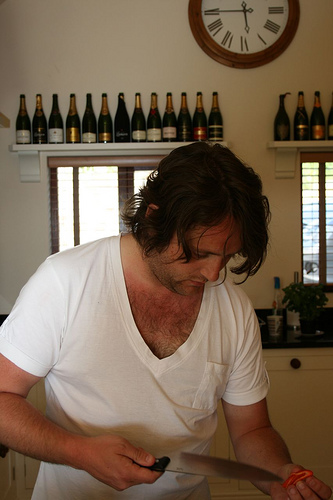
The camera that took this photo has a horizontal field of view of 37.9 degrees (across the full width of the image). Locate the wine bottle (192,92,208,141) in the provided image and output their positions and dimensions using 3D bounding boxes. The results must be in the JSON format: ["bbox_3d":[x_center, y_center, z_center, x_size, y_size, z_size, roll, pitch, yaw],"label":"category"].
[{"bbox_3d":[0.194,-0.778,2.816,0.092,0.299,0.119,0,3,4],"label":"wine bottle"}]

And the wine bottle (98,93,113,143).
[{"bbox_3d":[-0.352,-0.761,2.795,0.086,0.288,0.088,0,3,0],"label":"wine bottle"}]

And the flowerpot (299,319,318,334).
[{"bbox_3d":[0.745,0.400,2.543,0.076,0.055,0.075,1,-11,1],"label":"flowerpot"}]

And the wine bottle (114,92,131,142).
[{"bbox_3d":[-0.254,-0.766,2.792,0.093,0.289,0.093,0,3,0],"label":"wine bottle"}]

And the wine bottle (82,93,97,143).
[{"bbox_3d":[-0.444,-0.759,2.783,0.085,0.306,0.150,0,3,-9],"label":"wine bottle"}]

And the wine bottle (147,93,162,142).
[{"bbox_3d":[-0.069,-0.762,2.791,0.085,0.288,0.105,0,3,-2],"label":"wine bottle"}]

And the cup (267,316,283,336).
[{"bbox_3d":[0.575,0.396,2.558,0.090,0.095,0.086,1,-1,0],"label":"cup"}]

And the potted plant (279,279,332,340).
[{"bbox_3d":[0.819,0.311,2.707,0.298,0.378,0.317,-2,-2,42],"label":"potted plant"}]

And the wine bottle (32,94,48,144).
[{"bbox_3d":[-0.725,-0.751,2.775,0.088,0.298,0.121,-1,3,-15],"label":"wine bottle"}]

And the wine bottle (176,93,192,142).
[{"bbox_3d":[0.100,-0.763,2.789,0.091,0.290,0.091,0,3,0],"label":"wine bottle"}]

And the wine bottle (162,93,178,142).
[{"bbox_3d":[0.022,-0.763,2.786,0.093,0.288,0.099,0,3,0],"label":"wine bottle"}]

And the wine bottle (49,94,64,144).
[{"bbox_3d":[-0.634,-0.752,2.777,0.075,0.299,0.125,-1,3,-13],"label":"wine bottle"}]

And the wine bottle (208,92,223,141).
[{"bbox_3d":[0.287,-0.776,2.822,0.087,0.287,0.085,0,3,0],"label":"wine bottle"}]

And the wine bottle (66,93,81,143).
[{"bbox_3d":[-0.535,-0.756,2.777,0.084,0.294,0.109,0,3,-10],"label":"wine bottle"}]

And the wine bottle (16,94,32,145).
[{"bbox_3d":[-0.815,-0.745,2.766,0.087,0.287,0.111,-1,3,-16],"label":"wine bottle"}]

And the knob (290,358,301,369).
[{"bbox_3d":[0.632,0.555,2.368,0.043,0.042,0.014,3,-10,-4],"label":"knob"}]

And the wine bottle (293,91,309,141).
[{"bbox_3d":[0.779,-0.770,2.802,0.087,0.300,0.156,1,3,13],"label":"wine bottle"}]

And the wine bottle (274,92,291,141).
[{"bbox_3d":[0.682,-0.767,2.815,0.101,0.273,0.101,0,3,0],"label":"wine bottle"}]

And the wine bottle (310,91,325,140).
[{"bbox_3d":[0.884,-0.777,2.834,0.085,0.283,0.134,1,3,16],"label":"wine bottle"}]

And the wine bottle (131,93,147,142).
[{"bbox_3d":[-0.160,-0.769,2.799,0.091,0.294,0.096,0,3,0],"label":"wine bottle"}]
